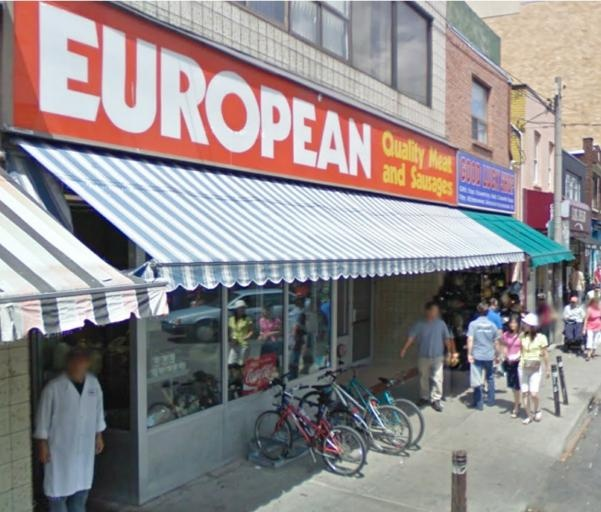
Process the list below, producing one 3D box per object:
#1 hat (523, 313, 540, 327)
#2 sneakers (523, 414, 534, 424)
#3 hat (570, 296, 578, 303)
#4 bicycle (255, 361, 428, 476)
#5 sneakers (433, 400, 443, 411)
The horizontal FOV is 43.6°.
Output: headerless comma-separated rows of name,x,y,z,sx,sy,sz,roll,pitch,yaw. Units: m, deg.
hat,3.933,1.093,12.841,0.272,0.186,0.450,0,1,18
sneakers,3.865,2.784,12.755,0.088,0.118,0.283,-13,-23,29
hat,6.709,1.057,18.421,0.157,0.131,0.270,-1,14,32
bicycle,0.607,2.493,11.297,2.306,1.547,1.308,-3,-10,9
sneakers,2.474,2.690,13.556,0.179,0.172,0.284,0,1,8
